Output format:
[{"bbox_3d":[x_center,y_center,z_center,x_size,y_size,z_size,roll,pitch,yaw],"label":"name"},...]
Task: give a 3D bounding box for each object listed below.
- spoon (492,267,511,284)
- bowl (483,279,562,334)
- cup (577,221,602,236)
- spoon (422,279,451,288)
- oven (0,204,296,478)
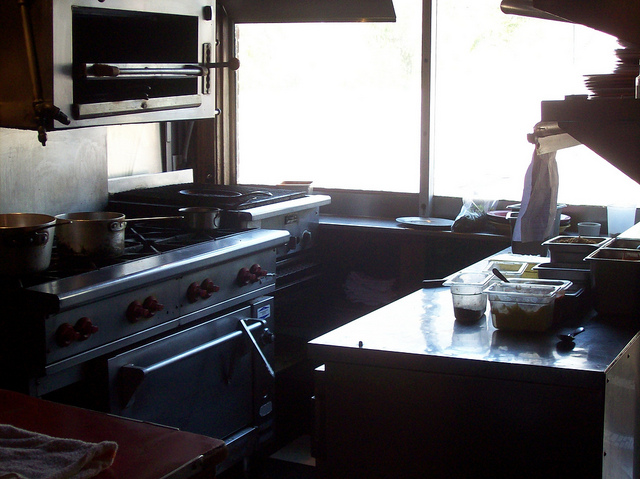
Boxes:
[{"bbox_3d":[0.642,0.135,1.969,0.123,0.029,0.012,40,4,-35],"label":"spoon"},{"bbox_3d":[0.697,0.215,1.825,0.192,0.134,0.247,1,-16,21],"label":"bowl"},{"bbox_3d":[1.403,-0.054,2.927,0.097,0.059,0.093,-2,6,0],"label":"cup"},{"bbox_3d":[0.471,0.177,2.302,0.099,0.040,0.084,3,11,7],"label":"spoon"},{"bbox_3d":[-0.638,0.503,2.418,0.507,1.169,1.272,7,12,24],"label":"oven"}]
